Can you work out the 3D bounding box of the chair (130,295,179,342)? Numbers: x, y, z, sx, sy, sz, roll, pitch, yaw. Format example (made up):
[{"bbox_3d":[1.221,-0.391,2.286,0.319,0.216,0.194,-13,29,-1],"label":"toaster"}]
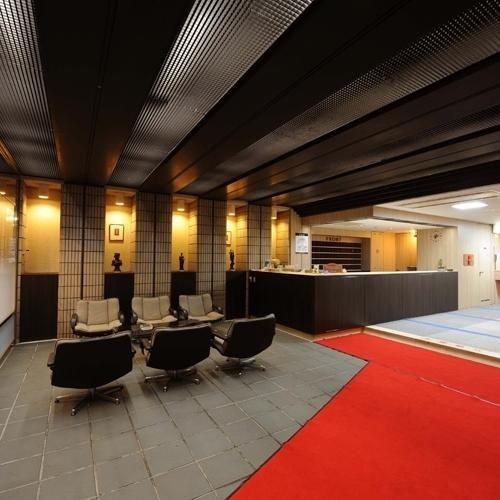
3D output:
[{"bbox_3d":[-1.756,1.215,6.338,0.714,0.787,0.640,1,-7,-30],"label":"chair"}]

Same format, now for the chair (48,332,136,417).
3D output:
[{"bbox_3d":[-1.738,1.289,3.904,0.831,0.841,0.702,-2,5,-29],"label":"chair"}]

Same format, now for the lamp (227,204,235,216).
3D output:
[{"bbox_3d":[-0.441,-0.886,8.344,0.219,0.241,0.215,-1,-5,1],"label":"lamp"}]

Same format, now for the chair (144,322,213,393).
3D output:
[{"bbox_3d":[-0.916,1.275,4.500,0.822,0.858,0.837,2,-6,-25],"label":"chair"}]

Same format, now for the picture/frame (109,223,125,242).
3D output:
[{"bbox_3d":[-2.857,-0.340,7.540,0.409,0.481,0.048,1,-2,-39],"label":"picture/frame"}]

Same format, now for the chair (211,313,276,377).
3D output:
[{"bbox_3d":[0.002,1.294,5.029,0.824,0.923,0.847,0,-2,-27],"label":"chair"}]

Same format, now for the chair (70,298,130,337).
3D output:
[{"bbox_3d":[-2.526,1.122,5.950,0.883,0.793,0.715,2,-11,-25],"label":"chair"}]

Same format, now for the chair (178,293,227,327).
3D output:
[{"bbox_3d":[-0.951,1.163,6.859,0.682,0.567,0.643,2,-7,-25],"label":"chair"}]

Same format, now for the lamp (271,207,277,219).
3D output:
[{"bbox_3d":[0.644,-0.938,9.446,0.241,0.263,0.236,0,-2,-7],"label":"lamp"}]
